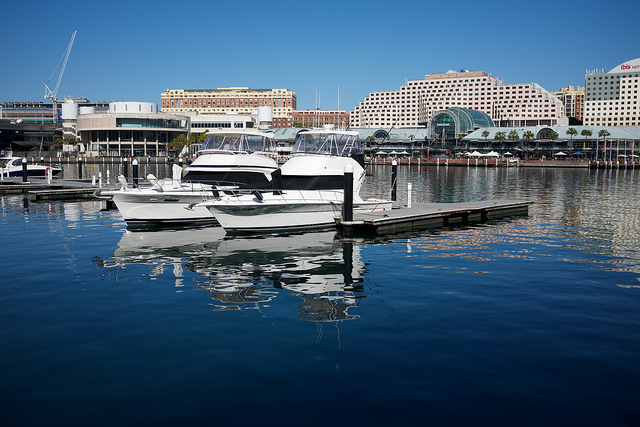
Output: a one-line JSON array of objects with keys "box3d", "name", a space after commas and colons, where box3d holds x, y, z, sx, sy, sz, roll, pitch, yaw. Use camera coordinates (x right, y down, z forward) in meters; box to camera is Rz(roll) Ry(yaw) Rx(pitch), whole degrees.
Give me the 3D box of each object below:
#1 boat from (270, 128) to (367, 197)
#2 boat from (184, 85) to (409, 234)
[{"box3d": [-0.652, -3.056, 39.172, 3.439, 2.975, 6.334, -1, -2, 38], "name": "boat"}, {"box3d": [-1.412, -2.089, 38.490, 14.450, 5.150, 4.656, -10, 16, -43], "name": "boat"}]
